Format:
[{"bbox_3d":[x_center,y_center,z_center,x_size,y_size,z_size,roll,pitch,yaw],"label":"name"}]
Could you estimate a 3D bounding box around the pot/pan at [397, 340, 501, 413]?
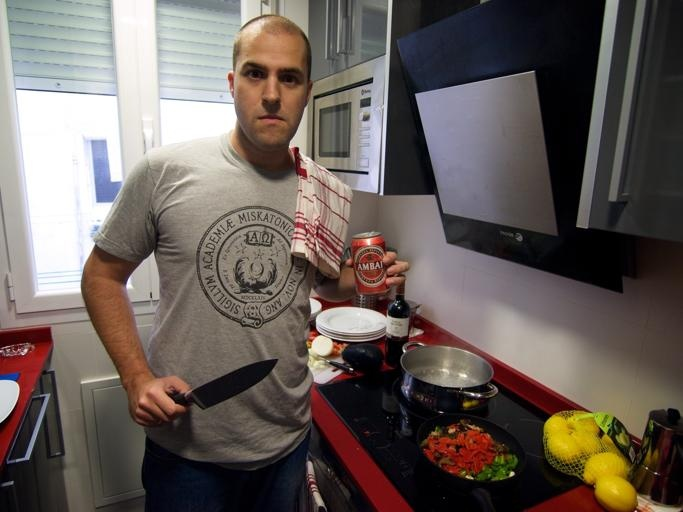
[{"bbox_3d":[0.342,0.404,1.573,0.194,0.080,0.262,-2,12,-24],"label":"pot/pan"}]
